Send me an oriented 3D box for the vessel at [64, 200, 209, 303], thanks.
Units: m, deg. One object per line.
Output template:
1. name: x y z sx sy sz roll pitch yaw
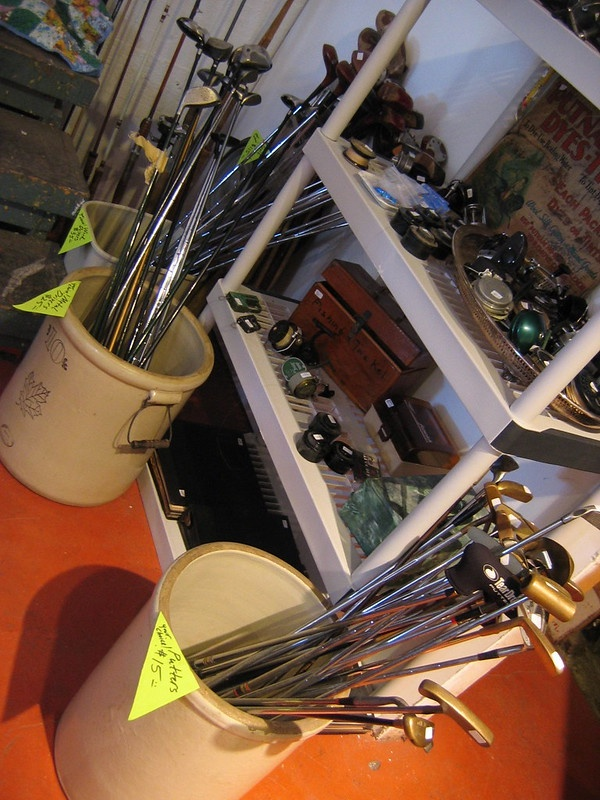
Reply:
1. vessel: -0.477 -0.425 1.742 0.157 0.400 0.305 32 50 3

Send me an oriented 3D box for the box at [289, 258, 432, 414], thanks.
1. box: 0.171 -0.164 1.404 0.202 0.212 0.316 -17 60 -42
